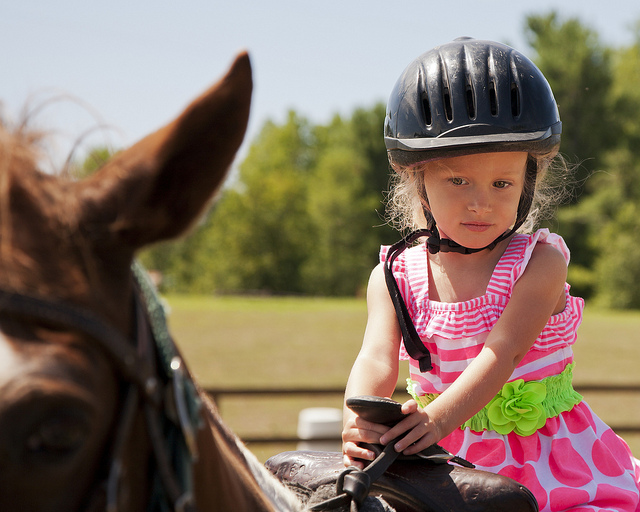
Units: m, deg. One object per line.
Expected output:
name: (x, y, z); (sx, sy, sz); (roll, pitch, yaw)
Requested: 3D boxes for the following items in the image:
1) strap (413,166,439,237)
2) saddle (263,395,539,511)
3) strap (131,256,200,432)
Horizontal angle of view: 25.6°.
strap: (0.377, -0.205, 5.022); (0.138, 0.208, 0.050); (-7, 0, 21)
saddle: (0.277, 0.690, 4.409); (0.698, 0.337, 0.441); (9, 3, -1)
strap: (-0.438, 0.244, 3.935); (0.051, 0.500, 0.052); (-20, -5, -7)
